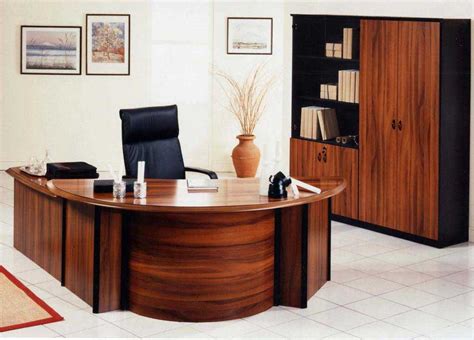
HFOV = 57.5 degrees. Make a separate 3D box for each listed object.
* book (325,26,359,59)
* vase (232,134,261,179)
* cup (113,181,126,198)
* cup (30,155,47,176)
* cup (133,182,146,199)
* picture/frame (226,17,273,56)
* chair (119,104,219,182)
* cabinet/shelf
[{"bbox_3d":[1.290,-1.521,5.341,0.379,0.464,0.503,3,11,12],"label":"book"},{"bbox_3d":[0.161,-0.226,7.373,0.375,0.714,0.346,11,15,41],"label":"vase"},{"bbox_3d":[-0.872,0.151,3.277,0.112,0.120,0.118,1,6,0],"label":"cup"},{"bbox_3d":[-1.976,-0.041,4.242,0.197,0.174,0.180,2,4,0],"label":"cup"},{"bbox_3d":[-0.721,0.151,3.213,0.099,0.106,0.118,2,2,17],"label":"cup"},{"bbox_3d":[0.218,-2.397,7.646,0.682,0.462,0.022,1,6,-4],"label":"picture/frame"},{"bbox_3d":[-0.898,-0.359,5.146,0.834,1.117,1.017,-8,11,-37],"label":"chair"},{"bbox_3d":[1.640,-0.594,5.211,0.586,2.577,2.227,-10,16,-42],"label":"cabinet/shelf"}]
